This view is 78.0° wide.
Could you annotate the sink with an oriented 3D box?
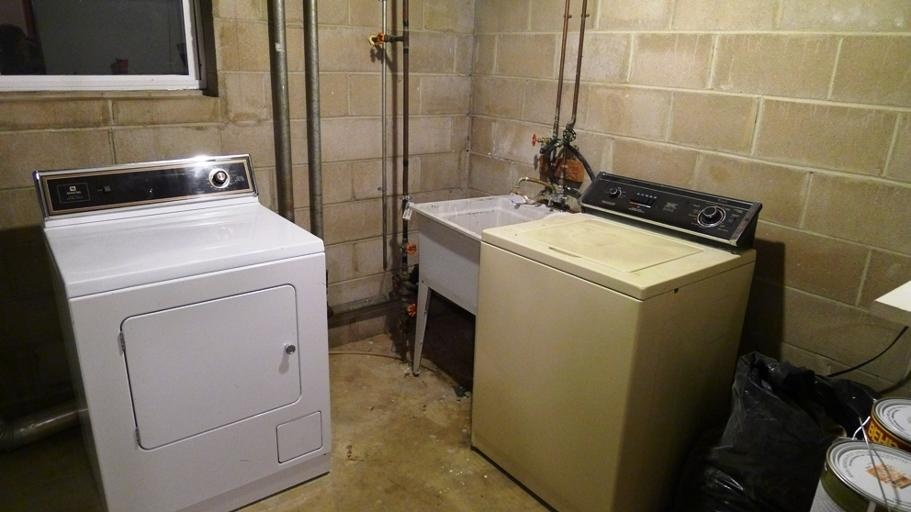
[{"bbox_3d":[0.229,-0.111,3.745,0.886,0.509,0.859,-11,24,-35],"label":"sink"}]
